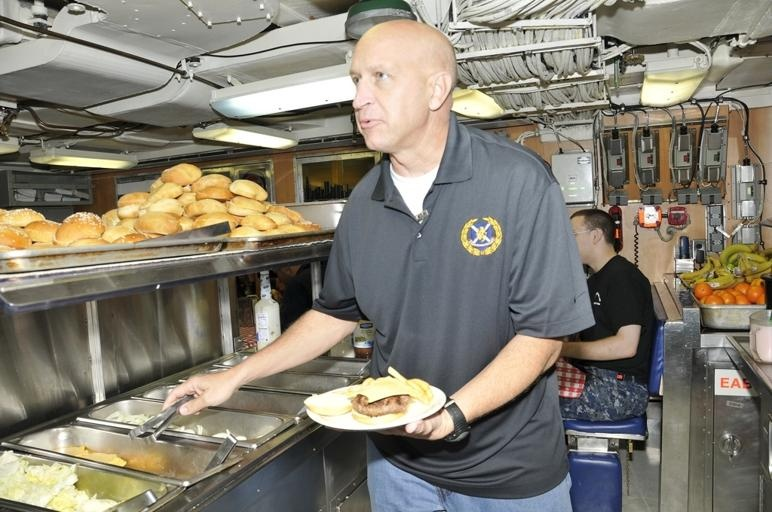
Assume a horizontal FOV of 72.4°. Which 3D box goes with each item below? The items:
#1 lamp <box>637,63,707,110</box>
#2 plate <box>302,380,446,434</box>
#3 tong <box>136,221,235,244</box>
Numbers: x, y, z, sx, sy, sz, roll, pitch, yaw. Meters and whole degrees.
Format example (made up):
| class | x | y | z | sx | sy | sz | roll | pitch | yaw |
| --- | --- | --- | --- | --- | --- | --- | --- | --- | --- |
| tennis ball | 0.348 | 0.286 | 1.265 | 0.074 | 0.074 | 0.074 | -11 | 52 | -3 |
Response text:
| class | x | y | z | sx | sy | sz | roll | pitch | yaw |
| --- | --- | --- | --- | --- | --- | --- | --- | --- | --- |
| lamp | 2.672 | -1.587 | 4.935 | 0.485 | 0.107 | 1.572 | 1 | 6 | 23 |
| plate | -0.032 | 0.519 | 1.743 | 0.370 | 0.149 | 0.323 | -5 | 8 | -41 |
| tong | -0.932 | -0.108 | 2.522 | 0.535 | 0.094 | 0.378 | 0 | 2 | 15 |
